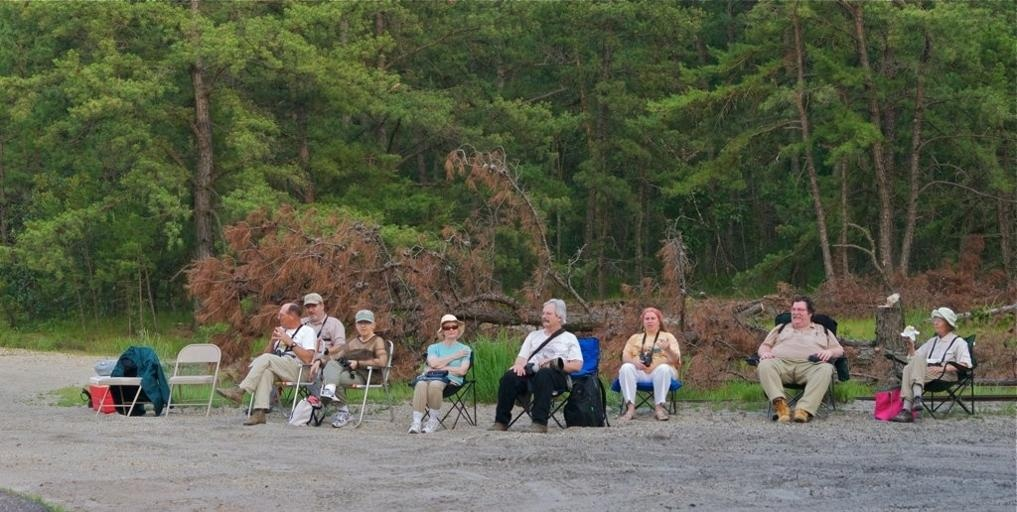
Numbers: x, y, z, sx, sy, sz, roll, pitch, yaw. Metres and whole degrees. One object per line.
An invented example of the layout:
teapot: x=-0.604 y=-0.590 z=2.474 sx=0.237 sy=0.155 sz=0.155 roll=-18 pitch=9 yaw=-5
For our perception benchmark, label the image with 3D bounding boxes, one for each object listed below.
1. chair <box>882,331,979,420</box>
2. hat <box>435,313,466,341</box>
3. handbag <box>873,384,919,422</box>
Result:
chair: x=15.861 y=4.199 z=53.915 sx=2.456 sy=3.589 sz=2.752 roll=-1 pitch=0 yaw=40
hat: x=-2.173 y=2.721 z=53.364 sx=0.958 sy=0.522 sz=1.028 roll=-1 pitch=-37 yaw=-8
handbag: x=14.066 y=5.498 z=52.857 sx=1.620 sy=0.587 sz=1.141 roll=0 pitch=31 yaw=4
